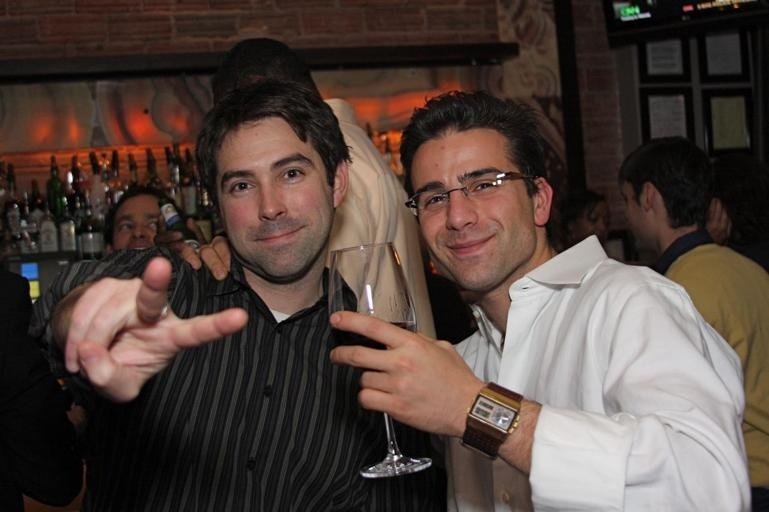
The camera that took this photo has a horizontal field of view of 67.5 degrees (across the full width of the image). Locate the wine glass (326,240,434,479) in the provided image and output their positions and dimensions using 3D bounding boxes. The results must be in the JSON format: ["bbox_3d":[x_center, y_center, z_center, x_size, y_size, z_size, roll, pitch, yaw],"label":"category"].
[{"bbox_3d":[-0.009,0.317,1.570,0.233,0.700,0.231,-8,8,-10],"label":"wine glass"}]
